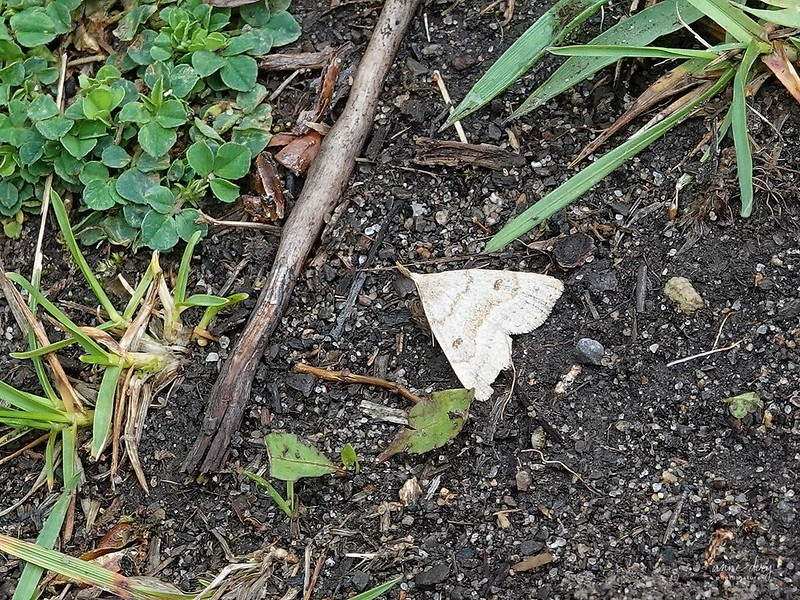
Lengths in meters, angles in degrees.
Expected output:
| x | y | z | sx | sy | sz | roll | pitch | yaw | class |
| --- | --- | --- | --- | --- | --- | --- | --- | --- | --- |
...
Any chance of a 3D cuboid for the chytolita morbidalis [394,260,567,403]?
| x | y | z | sx | sy | sz | roll | pitch | yaw | class |
| --- | --- | --- | --- | --- | --- | --- | --- | --- | --- |
| 0.145 | 0.022 | 2.014 | 0.508 | 0.114 | 0.399 | 25 | 68 | 14 | chytolita morbidalis |
